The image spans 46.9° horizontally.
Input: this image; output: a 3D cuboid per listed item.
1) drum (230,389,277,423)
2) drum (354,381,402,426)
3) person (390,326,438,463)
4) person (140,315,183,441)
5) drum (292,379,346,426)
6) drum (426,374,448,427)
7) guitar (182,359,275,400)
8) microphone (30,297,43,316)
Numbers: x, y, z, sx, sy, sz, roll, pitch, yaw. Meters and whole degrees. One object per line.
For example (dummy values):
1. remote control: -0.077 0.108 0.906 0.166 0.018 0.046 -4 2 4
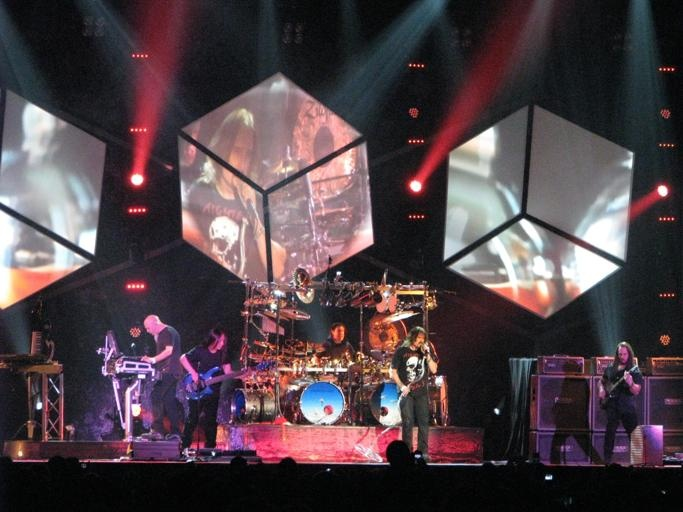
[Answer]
1. drum: -1.248 2.100 11.023 0.546 0.502 0.456 9 -11 -42
2. drum: 0.479 2.054 10.914 0.568 0.623 0.566 1 -1 42
3. person: 0.917 1.759 10.054 0.563 1.701 0.543 2 1 3
4. person: -2.392 1.665 10.794 0.483 1.813 0.551 3 0 -43
5. drum: -0.276 2.022 10.773 0.602 0.591 0.288 2 -13 -6
6. drum: 1.361 2.120 11.258 0.232 0.620 0.651 -2 -7 15
7. guitar: -1.531 1.618 10.094 0.969 0.474 0.399 3 -13 -12
8. microphone: -4.673 0.771 12.089 0.157 0.215 0.331 9 -22 -19
